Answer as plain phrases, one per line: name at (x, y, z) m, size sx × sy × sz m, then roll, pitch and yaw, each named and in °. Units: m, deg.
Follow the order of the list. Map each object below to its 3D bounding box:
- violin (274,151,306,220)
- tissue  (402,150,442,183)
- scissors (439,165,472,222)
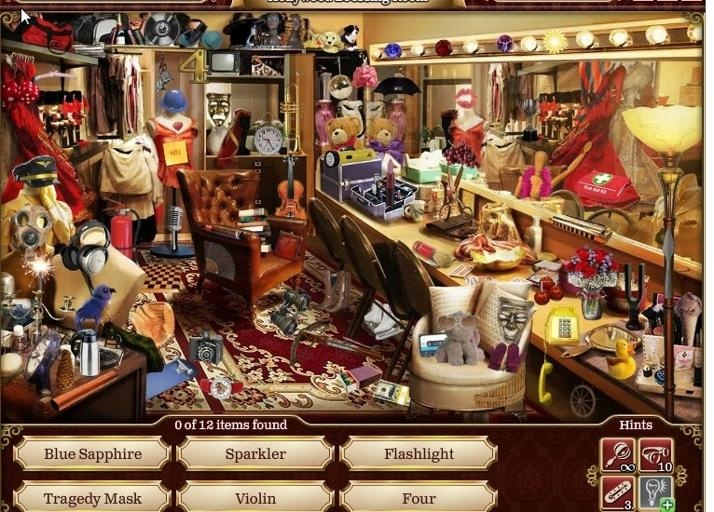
violin at (-0.812, -0.716, 6.198) m, size 0.411 × 1.064 × 0.349 m, roll 0°, pitch 0°, yaw -5°
tissue  at (0.701, -0.966, 5.574) m, size 0.363 × 0.243 × 0.387 m, roll -2°, pitch 15°, yaw -15°
scissors at (0.928, -0.607, 4.879) m, size 0.292 × 0.510 × 0.043 m, roll 1°, pitch 6°, yaw 27°
